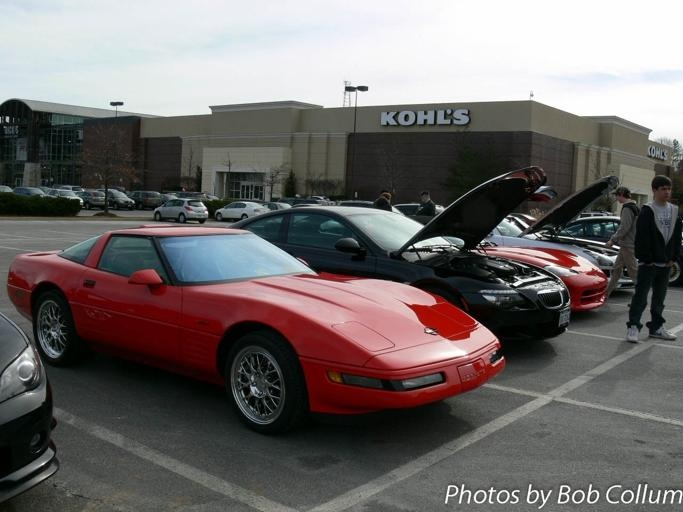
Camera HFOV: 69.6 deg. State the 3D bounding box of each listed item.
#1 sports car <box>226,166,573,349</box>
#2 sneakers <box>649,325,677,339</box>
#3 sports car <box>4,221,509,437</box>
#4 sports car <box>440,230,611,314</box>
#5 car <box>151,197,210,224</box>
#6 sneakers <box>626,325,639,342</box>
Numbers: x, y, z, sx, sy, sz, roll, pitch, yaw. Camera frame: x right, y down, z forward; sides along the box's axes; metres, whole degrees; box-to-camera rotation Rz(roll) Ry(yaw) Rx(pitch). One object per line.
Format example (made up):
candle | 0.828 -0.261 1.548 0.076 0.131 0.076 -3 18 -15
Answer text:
sports car | 0.716 -0.204 7.342 5.003 1.785 2.155 6 7 27
sneakers | 4.665 1.112 7.131 0.162 0.154 0.410 -3 1 -31
sports car | -1.173 0.474 4.753 4.479 0.977 1.956 8 8 30
sports car | 2.827 0.171 8.488 3.059 0.576 1.686 10 25 27
car | -12.233 -3.482 37.614 3.670 1.250 2.057 7 10 28
sneakers | 4.125 1.101 6.919 0.133 0.127 0.331 -1 1 23
